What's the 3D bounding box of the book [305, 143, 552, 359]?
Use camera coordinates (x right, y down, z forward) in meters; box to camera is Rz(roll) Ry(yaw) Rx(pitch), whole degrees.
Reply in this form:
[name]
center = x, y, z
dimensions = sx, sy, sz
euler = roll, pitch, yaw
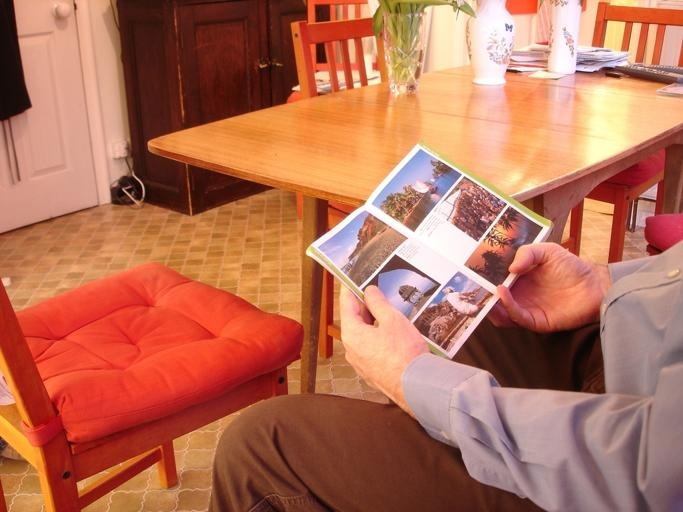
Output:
[book]
center = 0.148, -0.021, 0.869
dimensions = 0.354, 0.086, 0.329
euler = 41, 68, 12
